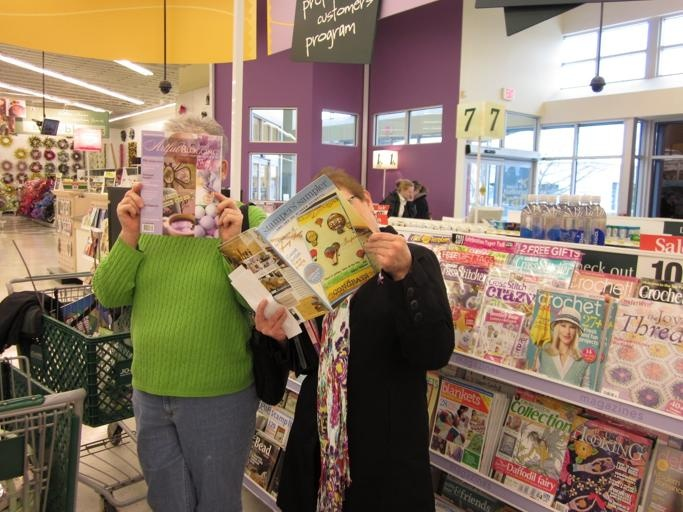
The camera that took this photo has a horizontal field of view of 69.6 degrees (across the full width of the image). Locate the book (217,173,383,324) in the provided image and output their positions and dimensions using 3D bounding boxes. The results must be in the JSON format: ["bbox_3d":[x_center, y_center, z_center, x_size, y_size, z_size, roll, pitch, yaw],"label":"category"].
[{"bbox_3d":[-0.085,-0.004,1.525,0.542,0.439,0.127,-36,10,24],"label":"book"}]

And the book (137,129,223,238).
[{"bbox_3d":[-0.547,-0.246,1.676,0.335,0.452,0.020,2,5,-10],"label":"book"}]
